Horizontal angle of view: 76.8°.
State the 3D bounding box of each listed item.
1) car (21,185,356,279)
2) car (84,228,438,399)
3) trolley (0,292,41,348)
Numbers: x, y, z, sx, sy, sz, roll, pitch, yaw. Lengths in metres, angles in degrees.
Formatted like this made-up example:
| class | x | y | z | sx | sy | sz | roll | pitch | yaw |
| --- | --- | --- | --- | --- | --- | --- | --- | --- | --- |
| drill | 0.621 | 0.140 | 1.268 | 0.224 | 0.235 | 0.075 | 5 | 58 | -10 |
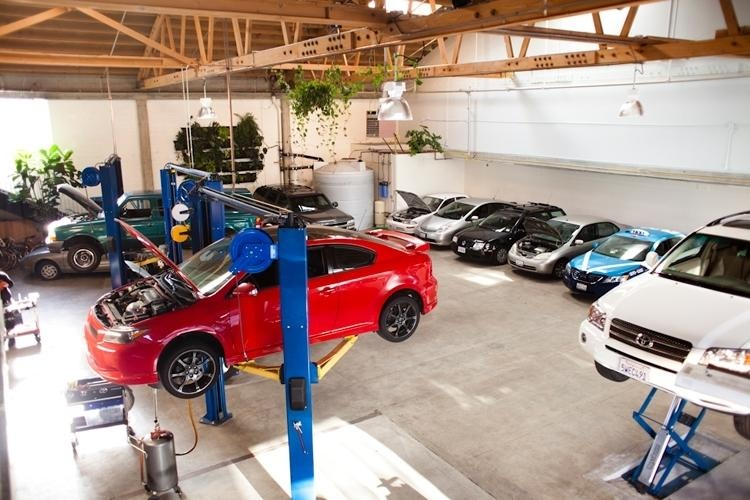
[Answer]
| class | x | y | z | sx | sy | sz | roll | pitch | yaw |
| --- | --- | --- | --- | --- | --- | --- | --- | --- | --- |
| car | -5.424 | -0.424 | 14.834 | 9.059 | 2.579 | 3.604 | -3 | 9 | -17 |
| car | -1.395 | 0.916 | 8.512 | 6.381 | 2.083 | 2.555 | -8 | 15 | -25 |
| trolley | -7.553 | 1.328 | 10.115 | 0.678 | 0.936 | 2.114 | -15 | 18 | -35 |
